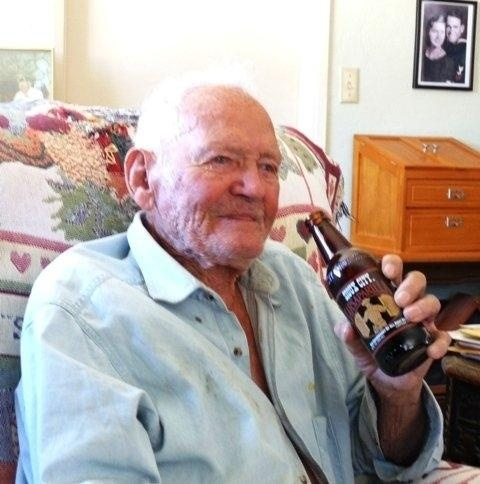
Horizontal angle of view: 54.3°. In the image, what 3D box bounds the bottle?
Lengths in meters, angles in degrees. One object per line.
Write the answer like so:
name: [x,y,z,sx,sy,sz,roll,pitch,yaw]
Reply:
bottle: [0.168,0.062,0.673,0.096,0.194,0.220,-4,11,-32]
